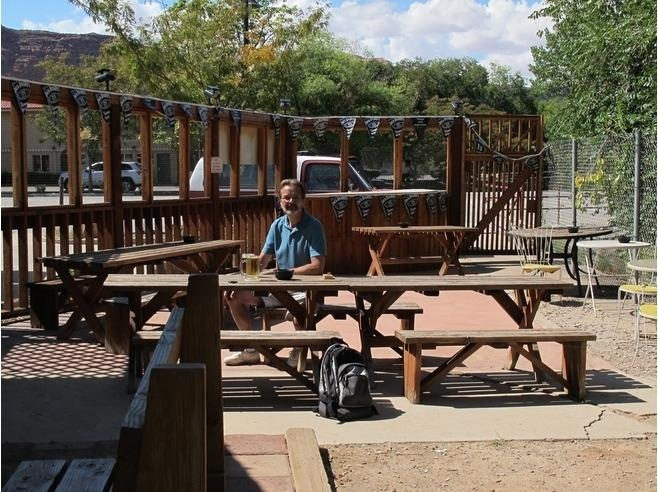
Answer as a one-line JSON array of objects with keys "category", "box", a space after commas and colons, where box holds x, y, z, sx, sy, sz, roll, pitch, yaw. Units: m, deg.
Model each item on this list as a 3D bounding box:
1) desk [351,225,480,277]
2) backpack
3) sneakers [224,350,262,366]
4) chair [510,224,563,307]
[{"category": "desk", "box": [1.456, 0.159, 11.517, 1.803, 0.964, 1.049, -1, 4, -9]}, {"category": "backpack", "box": [0.125, 1.095, 5.499, 0.465, 0.653, 0.323, 6, -15, -38]}, {"category": "sneakers", "box": [-0.841, 1.109, 6.727, 0.416, 0.208, 0.153, 1, -1, -11]}, {"category": "chair", "box": [3.140, 0.288, 10.227, 0.799, 1.081, 0.766, -2, 8, -38]}]
